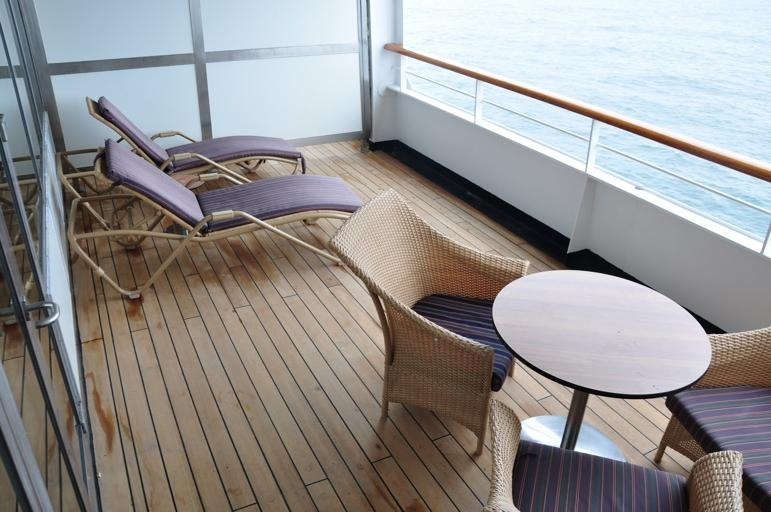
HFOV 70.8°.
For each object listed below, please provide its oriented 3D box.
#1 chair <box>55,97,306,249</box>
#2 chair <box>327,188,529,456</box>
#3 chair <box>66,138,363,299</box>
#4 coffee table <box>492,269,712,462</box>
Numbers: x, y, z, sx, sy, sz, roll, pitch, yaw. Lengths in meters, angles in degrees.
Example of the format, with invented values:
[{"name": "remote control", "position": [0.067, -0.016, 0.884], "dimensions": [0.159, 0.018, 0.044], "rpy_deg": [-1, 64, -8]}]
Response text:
[{"name": "chair", "position": [-1.888, -0.905, 5.364], "dimensions": [2.110, 1.201, 0.989], "rpy_deg": [-12, 8, -11]}, {"name": "chair", "position": [0.300, 0.404, 3.134], "dimensions": [1.114, 1.179, 1.099], "rpy_deg": [-1, 28, -2]}, {"name": "chair", "position": [-1.348, -0.481, 4.399], "dimensions": [2.510, 1.092, 1.116], "rpy_deg": [-10, 38, -18]}, {"name": "coffee table", "position": [1.029, 0.690, 3.055], "dimensions": [1.031, 0.742, 1.034], "rpy_deg": [-5, 37, -11]}]
